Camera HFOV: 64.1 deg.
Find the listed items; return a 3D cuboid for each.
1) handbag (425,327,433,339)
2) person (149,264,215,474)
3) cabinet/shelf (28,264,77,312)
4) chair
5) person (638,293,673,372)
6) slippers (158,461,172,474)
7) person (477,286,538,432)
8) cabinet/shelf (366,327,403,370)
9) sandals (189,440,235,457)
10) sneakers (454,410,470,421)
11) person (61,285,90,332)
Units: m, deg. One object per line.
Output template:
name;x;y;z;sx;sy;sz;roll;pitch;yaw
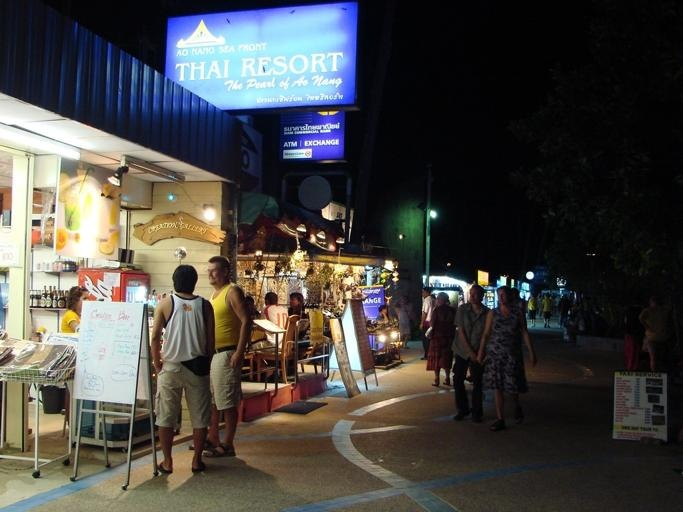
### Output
handbag;2.037;1.777;12.643;0.245;0.221;0.305;-1;-15;5
person;-1.861;1.319;6.368;0.735;2.436;0.435;0;-6;-16
cabinet/shelf;-5.420;0.594;10.176;0.879;0.880;0.309;-2;-11;2
chair;-1.149;1.807;10.555;0.741;1.016;2.104;-1;-5;17
person;6.256;1.483;10.740;0.508;1.418;1.027;-5;-7;26
slippers;-2.092;2.477;6.391;0.093;0.085;0.235;5;-1;-40
person;2.658;1.615;8.738;0.831;2.261;0.717;-4;-6;18
cabinet/shelf;1.221;2.585;15.599;0.808;1.098;1.539;-3;-7;15
sandals;-1.611;2.496;6.994;0.434;0.141;0.237;9;-11;-41
sneakers;2.065;2.720;9.301;0.265;0.253;0.130;1;-6;-5
person;-4.065;0.790;8.243;0.341;0.702;0.767;2;-7;-27
